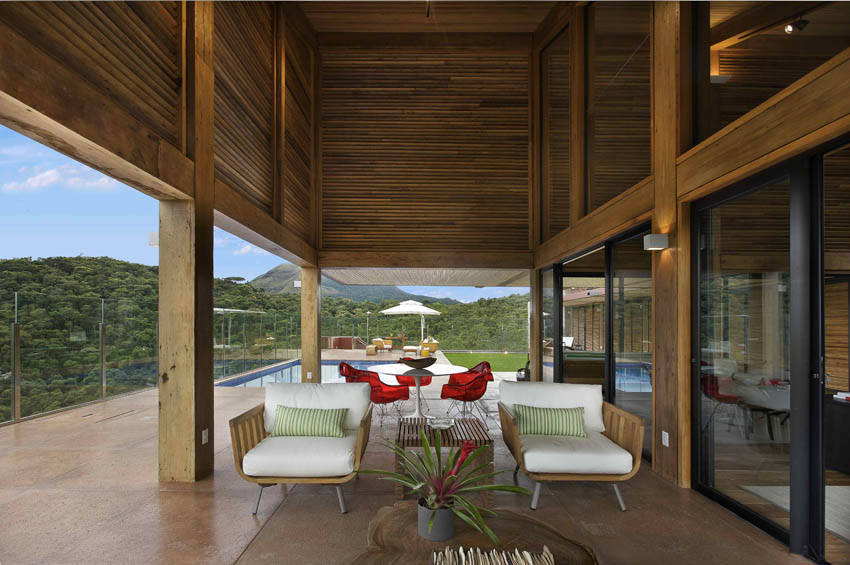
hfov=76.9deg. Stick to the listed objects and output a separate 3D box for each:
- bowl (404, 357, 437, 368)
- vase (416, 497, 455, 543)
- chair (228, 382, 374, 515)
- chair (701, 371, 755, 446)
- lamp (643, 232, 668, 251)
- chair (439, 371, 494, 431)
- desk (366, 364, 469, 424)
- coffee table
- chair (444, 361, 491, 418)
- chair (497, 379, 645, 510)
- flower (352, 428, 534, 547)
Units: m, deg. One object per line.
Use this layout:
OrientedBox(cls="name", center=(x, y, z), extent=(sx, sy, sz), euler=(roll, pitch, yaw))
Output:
OrientedBox(cls="bowl", center=(-0.058, 1.294, 8.689), extent=(0.723, 0.170, 0.378), euler=(-5, -7, 42))
OrientedBox(cls="vase", center=(0.107, 1.847, 4.191), extent=(0.269, 0.178, 0.280), euler=(-2, -7, 29))
OrientedBox(cls="chair", center=(-1.232, 1.682, 5.651), extent=(1.292, 1.022, 1.354), euler=(2, 0, -11))
OrientedBox(cls="chair", center=(3.025, 1.222, 5.424), extent=(0.552, 0.674, 0.538), euler=(-4, -5, 24))
OrientedBox(cls="lamp", center=(2.615, -0.454, 6.062), extent=(0.230, 0.150, 0.214), euler=(0, -2, 3))
OrientedBox(cls="chair", center=(0.675, 1.859, 8.451), extent=(0.937, 0.946, 0.911), euler=(3, -13, -7))
OrientedBox(cls="desk", center=(-0.045, 1.827, 8.867), extent=(1.489, 0.773, 1.400), euler=(-20, -4, 30))
OrientedBox(cls="coffee table", center=(0.202, 2.067, 6.100), extent=(1.360, 0.645, 1.343), euler=(-4, -14, 14))
OrientedBox(cls="chair", center=(0.596, 1.726, 8.255), extent=(0.732, 0.739, 0.680), euler=(4, 7, 9))
OrientedBox(cls="chair", center=(1.503, 1.699, 5.832), extent=(1.620, 0.937, 1.613), euler=(0, 0, -14))
OrientedBox(cls="flower", center=(0.161, 1.687, 4.283), extent=(1.146, 0.585, 1.352), euler=(5, -5, -36))
